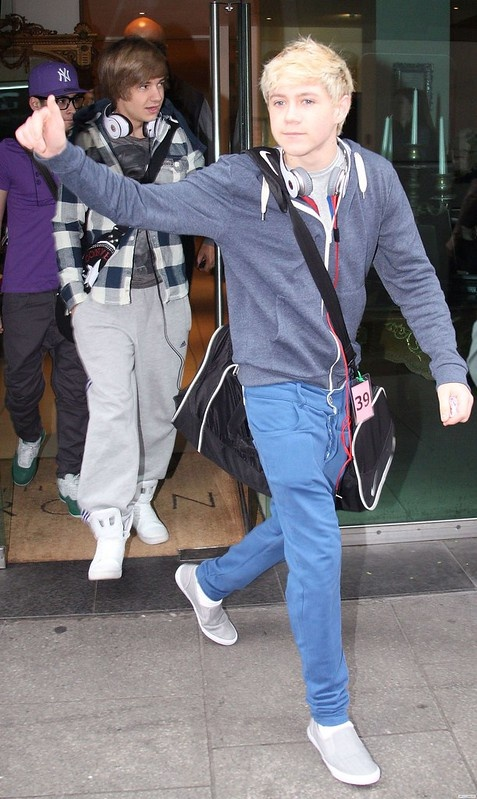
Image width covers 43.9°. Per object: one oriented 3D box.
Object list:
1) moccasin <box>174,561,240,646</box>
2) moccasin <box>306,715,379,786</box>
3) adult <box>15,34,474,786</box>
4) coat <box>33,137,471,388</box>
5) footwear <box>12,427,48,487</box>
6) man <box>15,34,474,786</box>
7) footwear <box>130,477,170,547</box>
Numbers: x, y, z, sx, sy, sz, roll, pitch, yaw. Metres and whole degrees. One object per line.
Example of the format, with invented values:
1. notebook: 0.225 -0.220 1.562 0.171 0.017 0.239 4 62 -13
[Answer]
1. moccasin: -0.091 0.635 1.945 0.120 0.323 0.126 -33 7 -36
2. moccasin: 0.226 0.769 1.322 0.084 0.068 0.172 -7 18 -27
3. adult: 0.040 0.049 1.390 0.906 1.565 0.714 -3 7 -19
4. coat: 0.049 -0.246 1.252 1.056 0.573 0.244 -11 17 -25
5. footwear: -1.191 0.331 3.413 0.119 0.359 0.148 8 -8 -9
6. man: 0.041 0.048 1.393 0.903 1.565 0.717 -3 7 -19
7. footwear: -0.373 0.531 2.771 0.123 0.241 0.345 -4 17 -17
